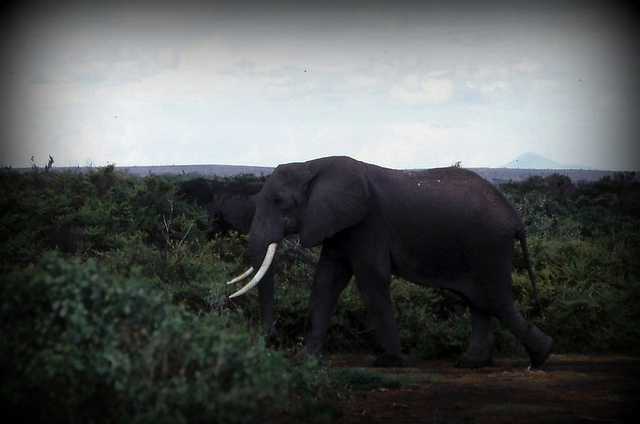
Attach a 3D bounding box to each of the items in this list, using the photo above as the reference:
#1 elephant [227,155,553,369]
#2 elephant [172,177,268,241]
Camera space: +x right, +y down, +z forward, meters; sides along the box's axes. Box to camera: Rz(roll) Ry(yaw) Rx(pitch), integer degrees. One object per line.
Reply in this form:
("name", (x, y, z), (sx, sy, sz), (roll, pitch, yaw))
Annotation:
("elephant", (1.601, 1.109, 13.017), (6.435, 4.471, 2.334), (1, 5, 7))
("elephant", (-3.416, -0.453, 21.182), (1.196, 1.686, 2.871), (-16, 31, -21))
